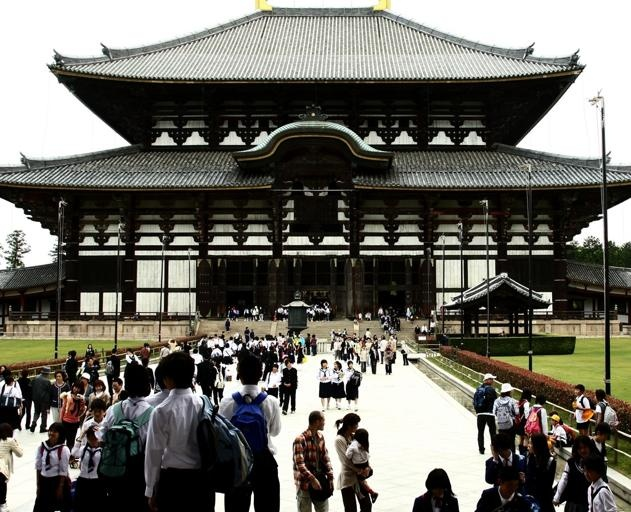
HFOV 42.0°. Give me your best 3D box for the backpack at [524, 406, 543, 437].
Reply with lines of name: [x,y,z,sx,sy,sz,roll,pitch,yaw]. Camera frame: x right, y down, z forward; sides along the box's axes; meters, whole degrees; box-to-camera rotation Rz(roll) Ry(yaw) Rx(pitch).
backpack: [4.916,3.732,18.500,0.278,0.700,0.699,0,-8,-1]

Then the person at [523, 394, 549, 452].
person: [4.895,3.810,18.521,0.470,1.305,0.470,16,-8,-26]

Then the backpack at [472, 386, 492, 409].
backpack: [4.293,3.623,20.840,0.535,0.682,0.460,-2,-9,10]

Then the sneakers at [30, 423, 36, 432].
sneakers: [-8.108,4.934,23.549,0.108,0.293,0.121,6,-5,-24]

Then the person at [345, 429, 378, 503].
person: [0.831,3.819,14.672,0.562,1.428,0.488,-2,-9,15]

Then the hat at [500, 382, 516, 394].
hat: [4.620,3.163,19.773,0.560,0.289,0.678,-4,-10,10]

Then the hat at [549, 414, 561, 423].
hat: [5.344,3.620,18.313,0.178,0.082,0.135,17,-3,5]

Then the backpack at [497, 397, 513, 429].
backpack: [4.559,3.740,19.696,0.585,0.721,0.427,-6,-9,21]

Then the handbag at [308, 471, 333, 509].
handbag: [0.106,4.099,14.344,0.414,0.538,0.153,-14,-14,-3]

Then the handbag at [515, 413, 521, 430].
handbag: [4.820,3.979,19.577,0.114,0.343,0.140,-1,-14,16]
